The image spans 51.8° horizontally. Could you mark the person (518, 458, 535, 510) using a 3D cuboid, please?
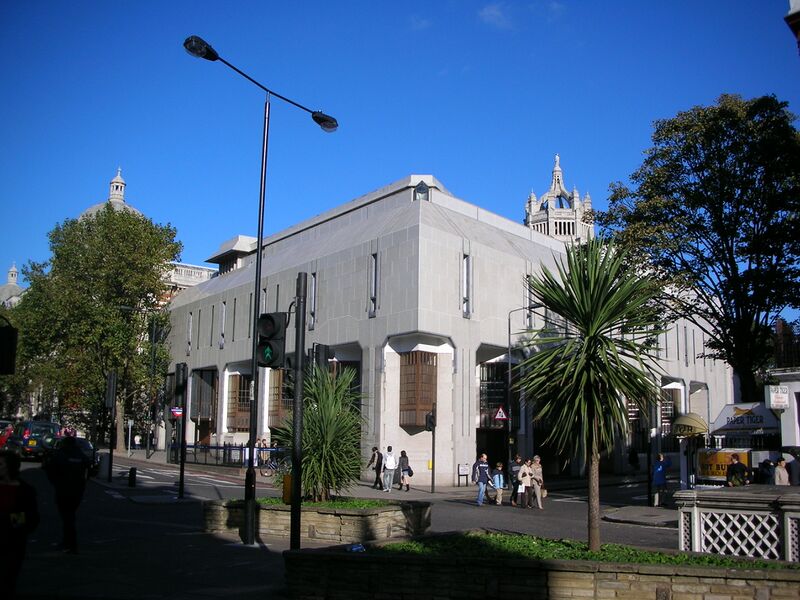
[{"bbox_3d":[4.563,6.716,29.961,0.539,1.635,0.788,-1,-13,9],"label":"person"}]

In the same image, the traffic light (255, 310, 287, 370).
[{"bbox_3d":[-2.312,0.672,14.983,0.524,1.065,0.559,3,-13,-10],"label":"traffic light"}]

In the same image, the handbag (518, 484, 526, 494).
[{"bbox_3d":[4.378,6.867,29.869,0.238,0.301,0.532,3,-14,-8],"label":"handbag"}]

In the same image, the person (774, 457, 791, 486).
[{"bbox_3d":[10.194,4.546,22.013,0.340,0.884,3.635,-5,-16,24],"label":"person"}]

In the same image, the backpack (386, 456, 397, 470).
[{"bbox_3d":[-0.434,7.176,36.316,0.525,0.765,0.378,9,-25,-19],"label":"backpack"}]
